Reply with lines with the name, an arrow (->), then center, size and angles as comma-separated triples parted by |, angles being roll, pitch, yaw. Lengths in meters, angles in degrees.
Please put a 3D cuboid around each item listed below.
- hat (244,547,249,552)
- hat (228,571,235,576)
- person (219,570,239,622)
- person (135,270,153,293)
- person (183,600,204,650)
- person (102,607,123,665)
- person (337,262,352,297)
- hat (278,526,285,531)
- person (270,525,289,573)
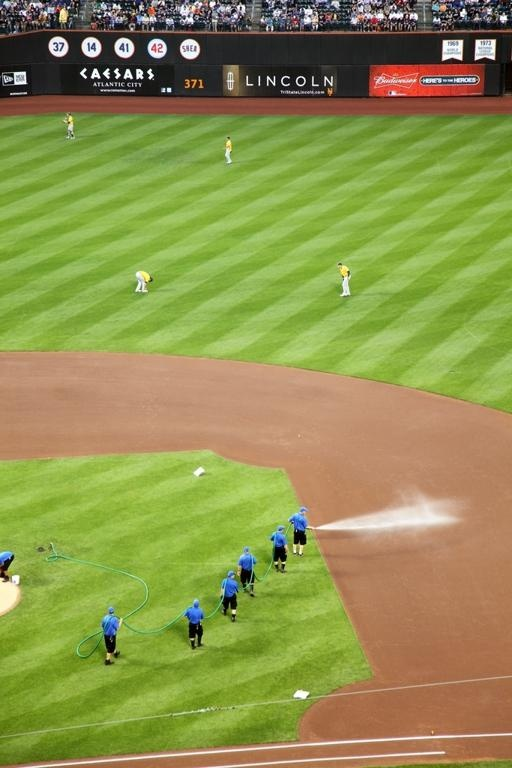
hat -> -0.179, 3.143, 19.762 | 0.094, 0.120, 0.085 | -3, 62, -3
hat -> -0.451, 3.571, 19.358 | 0.109, 0.118, 0.130 | 2, 17, 10
person -> -0.500, 3.962, 19.570 | 0.287, 0.992, 0.458 | -1, 17, -3
person -> -3.910, -3.594, 36.271 | 0.582, 0.796, 1.240 | -2, 16, -5
person -> -1.107, 4.316, 18.778 | 0.306, 0.976, 0.446 | -1, 17, -4
person -> -2.578, 4.378, 18.574 | 0.315, 1.097, 0.796 | -3, 17, -9
person -> 2.989, -3.519, 35.198 | 0.469, 1.325, 0.535 | -5, 52, 7
hat -> 0.513, 2.909, 20.909 | 0.106, 0.118, 0.123 | 6, 43, 8
person -> 0.453, 3.344, 21.054 | 0.293, 1.040, 0.455 | 0, 17, 0
